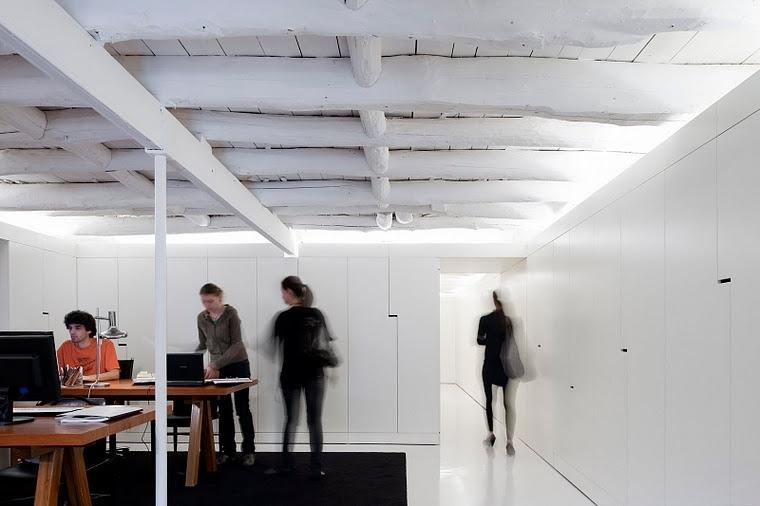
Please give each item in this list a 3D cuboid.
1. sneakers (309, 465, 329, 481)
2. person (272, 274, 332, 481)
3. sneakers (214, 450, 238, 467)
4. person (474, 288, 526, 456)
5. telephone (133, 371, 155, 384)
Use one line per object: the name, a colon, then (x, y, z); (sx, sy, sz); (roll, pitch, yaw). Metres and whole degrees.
sneakers: (-0.721, 2.507, 6.555); (0.146, 0.150, 0.159); (1, -8, -7)
person: (-0.867, 1.400, 6.515); (0.492, 2.245, 0.699); (-3, -7, 41)
sneakers: (-1.710, 2.280, 6.373); (0.084, 0.096, 0.251); (-8, -16, 42)
person: (1.651, 1.628, 8.003); (0.612, 2.181, 0.382); (1, -5, 13)
telephone: (-2.116, 1.114, 5.159); (0.166, 0.150, 0.437); (4, -6, -22)
